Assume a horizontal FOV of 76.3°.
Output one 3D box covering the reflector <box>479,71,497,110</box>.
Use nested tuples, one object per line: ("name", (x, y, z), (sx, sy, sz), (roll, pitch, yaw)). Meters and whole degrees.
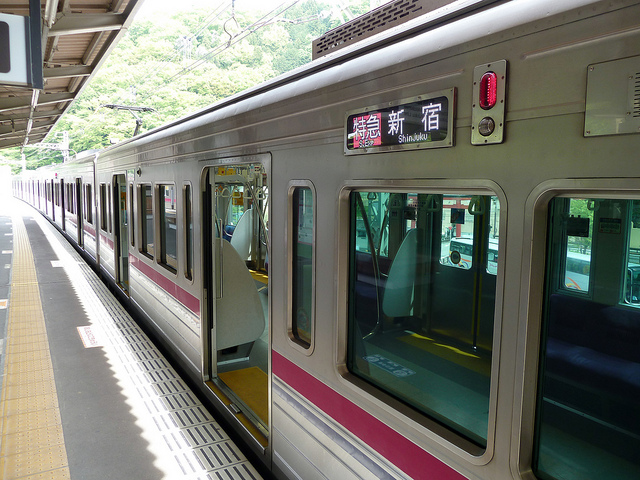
("reflector", (0.670, -0.593, 1.620), (0.007, 0.144, 0.069), (-7, 10, -40))
